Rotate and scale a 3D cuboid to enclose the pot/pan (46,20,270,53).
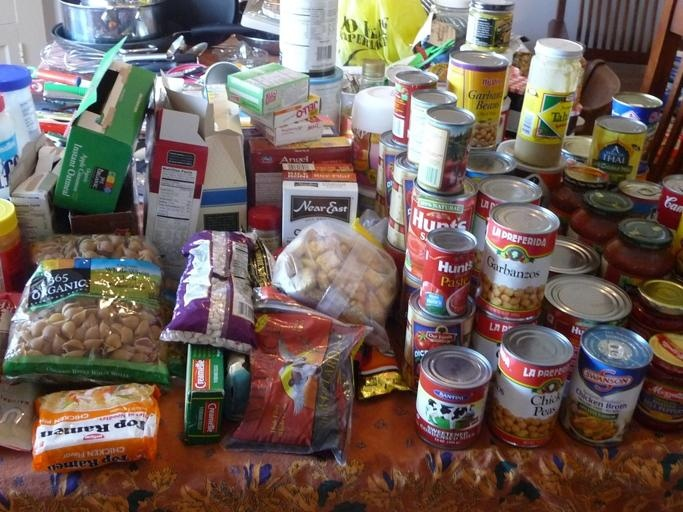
[{"bbox_3d":[-0.690,-0.891,2.229,0.699,0.104,0.372,-3,27,-11],"label":"pot/pan"}]
